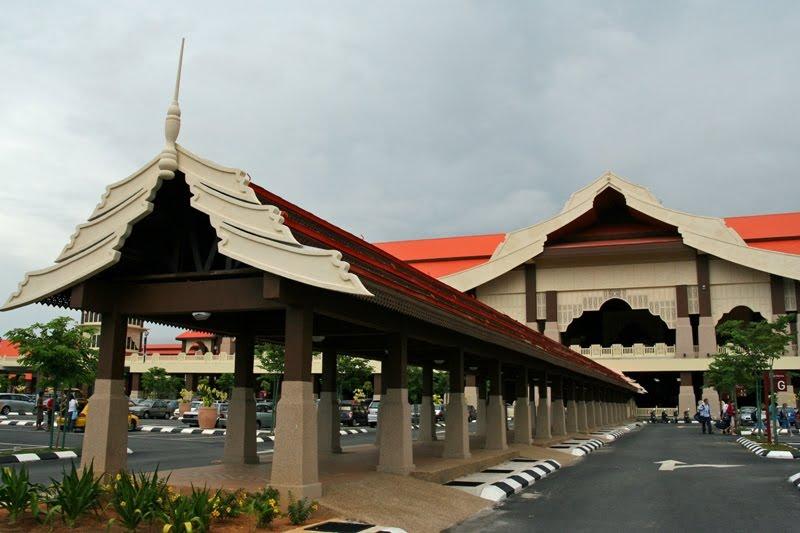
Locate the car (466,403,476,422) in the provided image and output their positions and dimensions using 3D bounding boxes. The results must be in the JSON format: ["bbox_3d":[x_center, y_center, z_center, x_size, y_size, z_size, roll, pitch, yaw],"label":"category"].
[{"bbox_3d":[8.035,16.020,68.689,0.615,1.464,4.278,-3,-11,9],"label":"car"}]

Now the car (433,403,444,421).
[{"bbox_3d":[3.892,14.347,61.256,0.710,1.223,5.535,-2,-11,1],"label":"car"}]

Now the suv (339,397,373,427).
[{"bbox_3d":[-3.406,11.138,47.097,1.018,1.820,3.189,-5,-12,17],"label":"suv"}]
